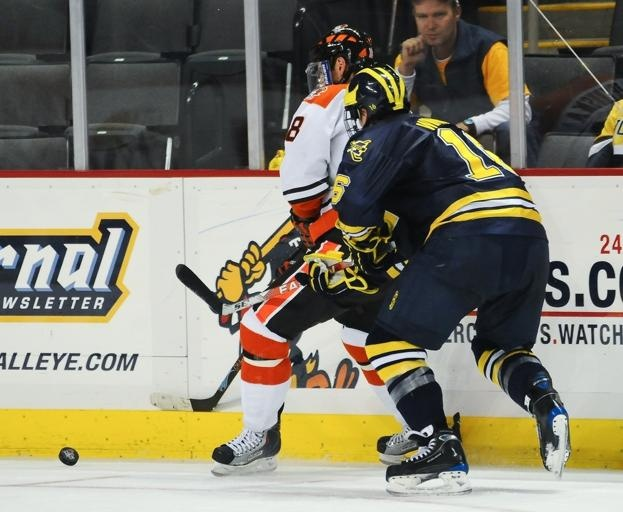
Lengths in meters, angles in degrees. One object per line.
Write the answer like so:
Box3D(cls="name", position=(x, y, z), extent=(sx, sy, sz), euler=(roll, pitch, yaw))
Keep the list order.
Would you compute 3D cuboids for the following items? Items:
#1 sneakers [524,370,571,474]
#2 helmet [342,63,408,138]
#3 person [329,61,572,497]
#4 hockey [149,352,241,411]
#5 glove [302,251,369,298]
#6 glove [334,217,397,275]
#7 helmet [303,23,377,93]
Box3D(cls="sneakers", position=(0.961, 0.718, 5.441), extent=(0.156, 0.413, 0.240), euler=(-1, -6, 2))
Box3D(cls="helmet", position=(0.250, -0.689, 5.592), extent=(0.288, 0.271, 0.331), euler=(-16, 26, -26))
Box3D(cls="person", position=(0.602, 0.110, 5.524), extent=(1.019, 1.868, 0.348), euler=(0, 3, 3))
Box3D(cls="hockey", position=(-0.591, 0.672, 6.468), extent=(0.371, 0.080, 0.356), euler=(-6, 5, 28))
Box3D(cls="glove", position=(0.100, 0.094, 5.722), extent=(0.296, 0.156, 0.125), euler=(-9, 9, 34))
Box3D(cls="glove", position=(0.249, -0.034, 5.585), extent=(0.210, 0.236, 0.136), euler=(-14, 35, 21))
Box3D(cls="helmet", position=(0.135, -0.950, 6.101), extent=(0.377, 0.316, 0.281), euler=(2, 8, 17))
